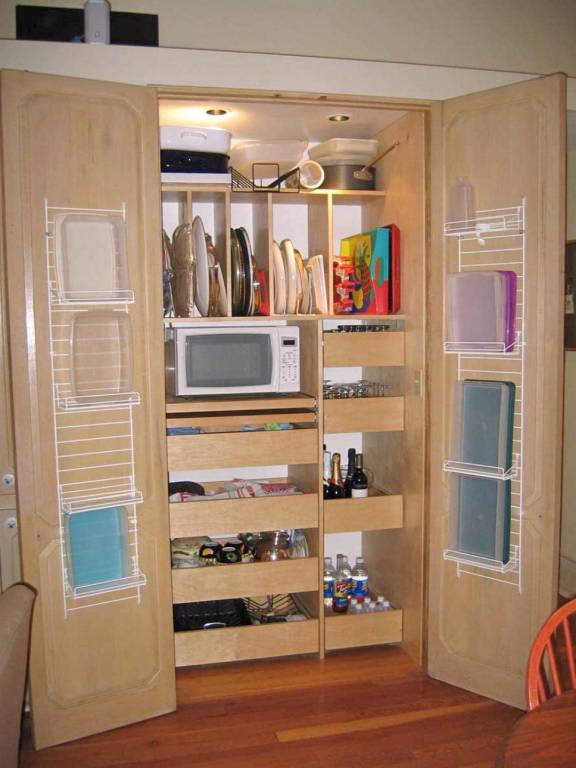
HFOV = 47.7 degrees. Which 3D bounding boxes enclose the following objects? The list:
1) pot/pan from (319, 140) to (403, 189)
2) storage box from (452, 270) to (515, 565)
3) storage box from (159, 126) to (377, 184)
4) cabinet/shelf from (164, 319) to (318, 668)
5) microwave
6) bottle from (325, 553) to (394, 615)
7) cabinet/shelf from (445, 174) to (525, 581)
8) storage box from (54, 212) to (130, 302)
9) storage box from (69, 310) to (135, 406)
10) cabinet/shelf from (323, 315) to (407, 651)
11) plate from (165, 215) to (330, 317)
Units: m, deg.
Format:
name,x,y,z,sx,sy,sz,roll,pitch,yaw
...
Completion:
name,x,y,z,sx,sy,sz,roll,pitch,yaw
pot/pan,0.259,-0.902,2.695,0.156,0.128,0.270,-7,15,-29
storage box,0.630,0.119,2.206,0.300,0.981,0.128,9,15,38
storage box,-0.092,-0.879,2.576,0.854,0.191,0.262,-6,13,-27
cabinet/shelf,-0.187,0.404,2.604,0.595,1.259,0.409,-3,7,-7
microwave,-0.204,-0.082,2.459,0.421,0.293,0.303,-2,4,-18
bottle,0.269,0.868,2.769,0.241,0.159,0.245,0,-5,0
cabinet/shelf,0.635,-0.196,2.246,0.265,1.080,0.095,3,-6,-13
storage box,-0.583,-0.373,1.952,0.211,0.254,0.117,-4,12,-20
storage box,-0.579,-0.085,2.030,0.183,0.275,0.055,-3,10,-27
cabinet/shelf,0.307,0.380,2.795,0.345,1.258,0.733,1,12,3
plate,-0.171,-0.435,2.465,0.699,0.385,0.170,-3,14,-16
